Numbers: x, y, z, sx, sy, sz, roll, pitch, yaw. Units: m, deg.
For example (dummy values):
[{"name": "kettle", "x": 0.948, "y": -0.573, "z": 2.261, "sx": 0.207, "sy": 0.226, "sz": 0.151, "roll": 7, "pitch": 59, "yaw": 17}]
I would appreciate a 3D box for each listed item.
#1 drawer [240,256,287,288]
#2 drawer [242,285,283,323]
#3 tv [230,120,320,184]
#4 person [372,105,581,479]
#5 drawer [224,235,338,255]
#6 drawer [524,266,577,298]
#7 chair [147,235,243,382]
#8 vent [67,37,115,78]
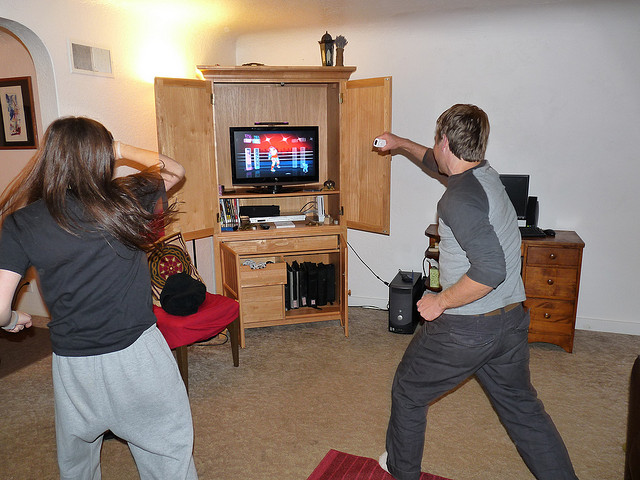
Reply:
[{"name": "drawer", "x": -0.523, "y": 0.280, "z": 4.435, "sx": 0.428, "sy": 0.290, "sz": 0.478, "roll": -5, "pitch": 14, "yaw": -7}, {"name": "drawer", "x": -0.542, "y": 0.570, "z": 4.429, "sx": 0.412, "sy": 0.373, "sz": 0.230, "roll": -4, "pitch": 7, "yaw": -9}, {"name": "tv", "x": -0.438, "y": -0.811, "z": 4.482, "sx": 0.658, "sy": 0.457, "sz": 0.049, "roll": -1, "pitch": 10, "yaw": -11}, {"name": "person", "x": 0.772, "y": 0.360, "z": 2.439, "sx": 0.951, "sy": 2.028, "sz": 0.487, "roll": -2, "pitch": 14, "yaw": 6}, {"name": "drawer", "x": -0.345, "y": 0.046, "z": 4.364, "sx": 1.035, "sy": 0.169, "sz": 0.045, "roll": -6, "pitch": 14, "yaw": -9}, {"name": "drawer", "x": 2.005, "y": 0.316, "z": 4.187, "sx": 0.436, "sy": 0.305, "sz": 0.250, "roll": 4, "pitch": 24, "yaw": 18}, {"name": "chair", "x": -1.027, "y": 0.505, "z": 3.662, "sx": 0.695, "sy": 0.930, "sz": 0.611, "roll": 17, "pitch": 23, "yaw": 41}, {"name": "vent", "x": -1.778, "y": -1.403, "z": 3.657, "sx": 0.078, "sy": 0.261, "sz": 0.375, "roll": 7, "pitch": 17, "yaw": 30}]
